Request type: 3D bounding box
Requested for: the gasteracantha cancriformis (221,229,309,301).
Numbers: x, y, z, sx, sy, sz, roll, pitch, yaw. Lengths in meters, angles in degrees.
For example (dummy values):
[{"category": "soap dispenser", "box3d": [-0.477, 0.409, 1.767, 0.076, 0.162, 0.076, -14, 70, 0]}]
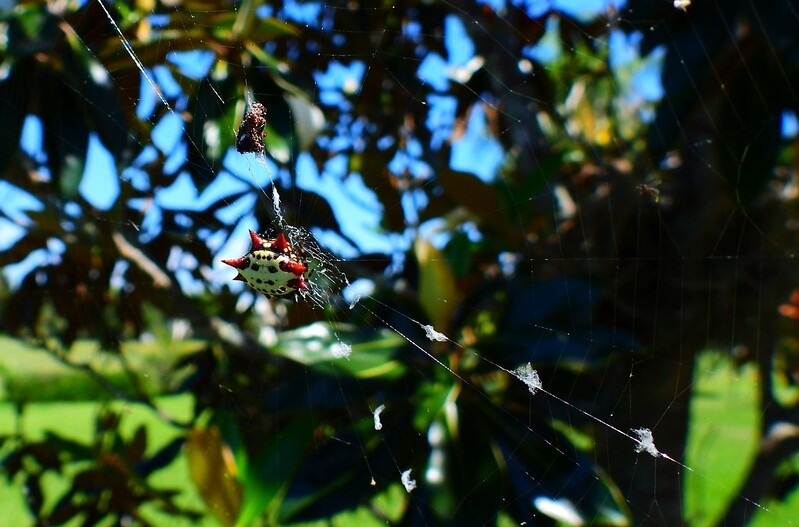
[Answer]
[{"category": "gasteracantha cancriformis", "box3d": [-0.983, 0.034, 5.971, 0.608, 0.694, 0.235, -9, 20, 17]}]
